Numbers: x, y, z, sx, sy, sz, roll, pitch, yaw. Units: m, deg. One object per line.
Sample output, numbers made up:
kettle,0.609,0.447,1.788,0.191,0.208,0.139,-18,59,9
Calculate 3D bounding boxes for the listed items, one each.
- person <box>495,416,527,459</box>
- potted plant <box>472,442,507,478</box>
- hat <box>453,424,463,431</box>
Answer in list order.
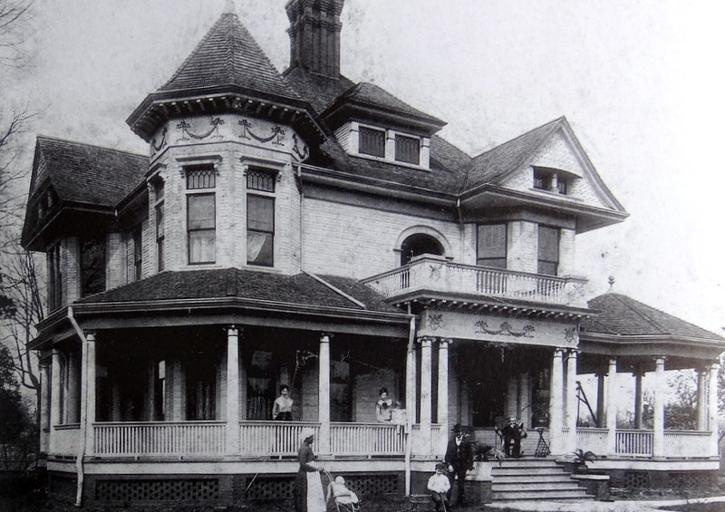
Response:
person,5.557,6.700,44.749,0.738,1.509,0.533,1,17,1
potted plant,4.318,7.165,42.095,1.130,1.257,1.154,8,-15,-29
hat,3.319,5.907,41.243,0.358,0.354,0.374,1,-5,-8
